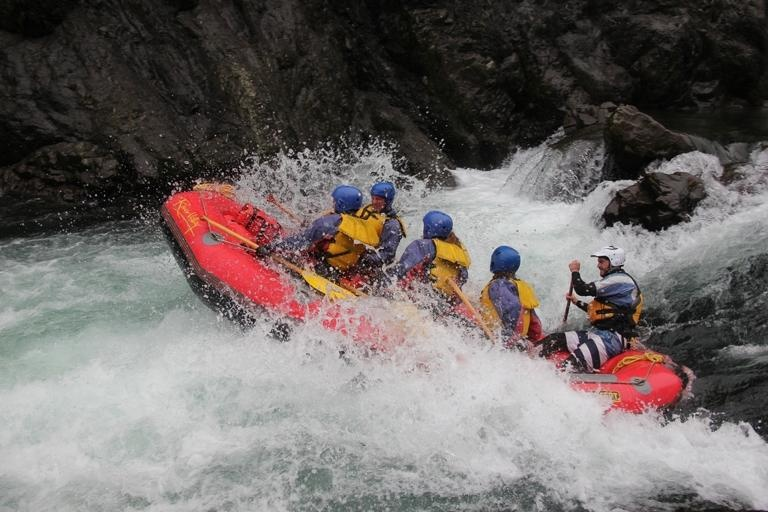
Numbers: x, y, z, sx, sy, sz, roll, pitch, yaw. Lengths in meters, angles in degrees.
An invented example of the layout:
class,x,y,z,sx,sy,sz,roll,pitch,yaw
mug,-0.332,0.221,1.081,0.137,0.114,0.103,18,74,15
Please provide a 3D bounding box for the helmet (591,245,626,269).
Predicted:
class,x,y,z,sx,sy,sz,roll,pitch,yaw
helmet,3.695,0.007,12.084,0.536,0.258,0.348,6,-2,5

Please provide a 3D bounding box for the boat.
class,x,y,z,sx,sy,sz,roll,pitch,yaw
boat,0.479,0.460,11.935,7.633,1.545,3.654,24,7,0

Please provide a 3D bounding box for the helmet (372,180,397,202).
class,x,y,z,sx,sy,sz,roll,pitch,yaw
helmet,0.013,-1.109,12.662,0.434,0.353,0.314,-17,35,-14

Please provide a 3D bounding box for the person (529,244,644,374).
class,x,y,z,sx,sy,sz,roll,pitch,yaw
person,3.354,0.873,11.881,1.807,1.569,0.847,-31,22,-27

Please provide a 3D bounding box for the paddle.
class,x,y,z,sx,sy,sz,roll,pitch,yaw
paddle,-1.755,0.050,12.210,2.594,0.354,0.197,29,41,16

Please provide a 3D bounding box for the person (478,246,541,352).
class,x,y,z,sx,sy,sz,roll,pitch,yaw
person,1.977,0.718,11.796,0.992,1.597,0.669,-33,22,-29
